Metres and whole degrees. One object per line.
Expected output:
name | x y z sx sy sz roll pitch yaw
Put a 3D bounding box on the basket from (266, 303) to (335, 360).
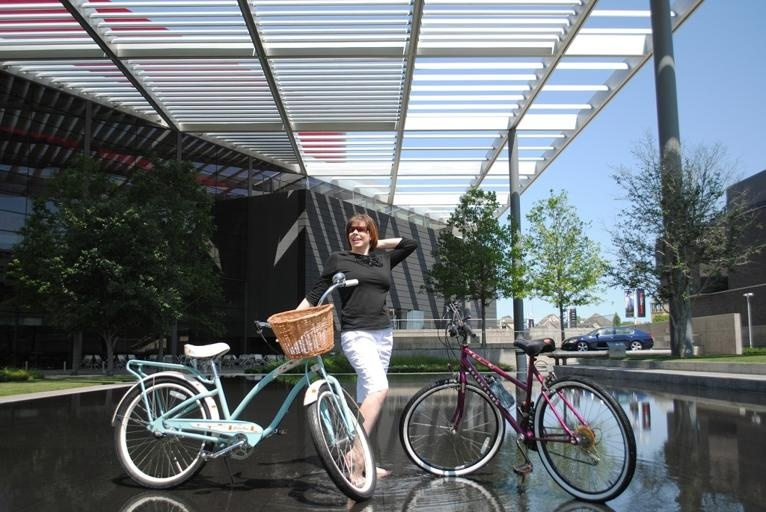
basket | -0.946 0.921 6.875 0.671 0.456 0.754 -18 -2 35
